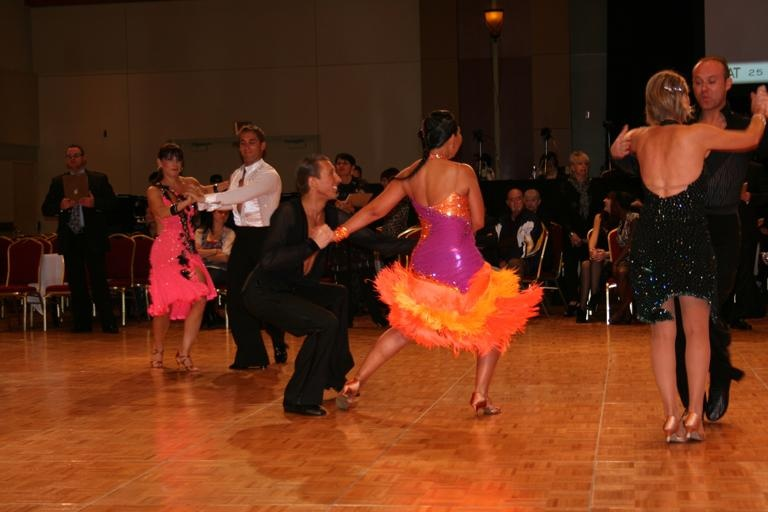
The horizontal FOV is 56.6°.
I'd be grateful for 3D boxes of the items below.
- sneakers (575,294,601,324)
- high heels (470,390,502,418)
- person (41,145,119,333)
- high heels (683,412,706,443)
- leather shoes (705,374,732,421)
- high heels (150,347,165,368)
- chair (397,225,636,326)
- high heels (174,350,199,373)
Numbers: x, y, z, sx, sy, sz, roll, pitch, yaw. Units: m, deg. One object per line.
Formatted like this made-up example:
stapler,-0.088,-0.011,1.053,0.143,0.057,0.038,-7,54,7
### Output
sneakers,2.629,0.672,9.159,0.102,0.339,0.125,7,21,-10
high heels,0.713,1.006,4.893,0.095,0.144,0.301,-1,-1,28
person,-3.875,-0.221,9.230,0.814,2.383,0.857,-3,6,-26
high heels,1.836,1.005,4.183,0.088,0.084,0.192,-2,6,15
leather shoes,2.133,0.902,4.524,0.148,0.289,0.098,4,4,15
high heels,-2.129,0.960,6.741,0.132,0.170,0.409,1,-8,-12
chair,0.614,0.137,4.845,0.989,0.569,0.858,-1,-2,4
high heels,-1.844,0.976,6.568,0.116,0.195,0.346,0,-2,-41
